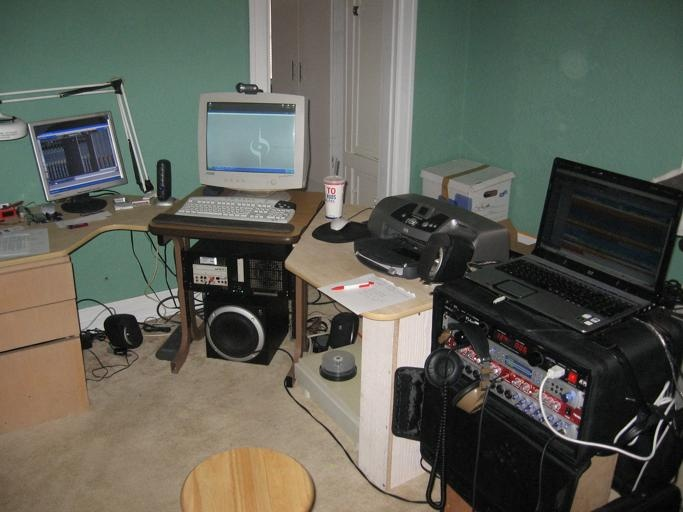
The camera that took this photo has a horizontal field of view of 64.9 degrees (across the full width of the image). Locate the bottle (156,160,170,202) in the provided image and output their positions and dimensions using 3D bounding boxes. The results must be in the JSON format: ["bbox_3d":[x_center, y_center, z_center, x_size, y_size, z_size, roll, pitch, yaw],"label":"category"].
[{"bbox_3d":[-1.051,-0.440,3.193,0.078,0.244,0.176,1,19,-8],"label":"bottle"}]

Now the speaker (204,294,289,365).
[{"bbox_3d":[-0.576,0.396,3.355,0.411,0.392,0.435,5,22,7],"label":"speaker"}]

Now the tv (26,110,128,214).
[{"bbox_3d":[-1.536,-0.535,3.088,0.258,0.475,0.469,30,33,34],"label":"tv"}]

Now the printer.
[{"bbox_3d":[0.417,-0.083,2.446,0.465,0.235,0.542,-19,30,-34],"label":"printer"}]

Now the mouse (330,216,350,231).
[{"bbox_3d":[-0.009,-0.174,2.832,0.054,0.026,0.091,15,34,24],"label":"mouse"}]

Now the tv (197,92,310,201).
[{"bbox_3d":[-0.430,-0.639,3.326,0.826,0.750,0.500,3,19,4],"label":"tv"}]

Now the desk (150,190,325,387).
[{"bbox_3d":[-0.594,0.120,3.500,1.106,1.099,1.007,5,32,5],"label":"desk"}]

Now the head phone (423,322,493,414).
[{"bbox_3d":[0.437,0.396,1.994,0.142,0.313,0.284,-8,25,-25],"label":"head phone"}]

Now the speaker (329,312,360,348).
[{"bbox_3d":[0.007,0.426,3.193,0.162,0.254,0.204,-1,12,-14],"label":"speaker"}]

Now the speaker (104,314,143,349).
[{"bbox_3d":[-1.332,0.472,3.283,0.113,0.219,0.151,-2,22,14],"label":"speaker"}]

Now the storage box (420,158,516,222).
[{"bbox_3d":[0.929,-0.549,4.200,0.498,0.607,0.620,-16,31,-28],"label":"storage box"}]
